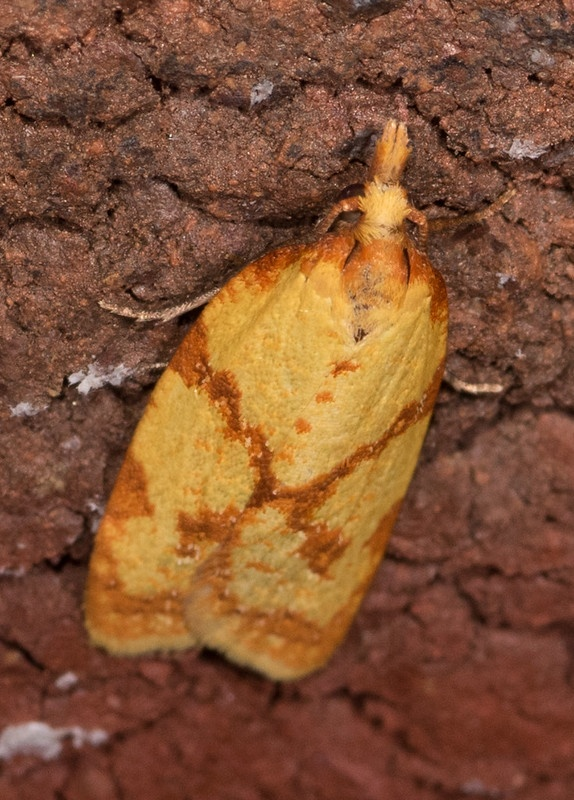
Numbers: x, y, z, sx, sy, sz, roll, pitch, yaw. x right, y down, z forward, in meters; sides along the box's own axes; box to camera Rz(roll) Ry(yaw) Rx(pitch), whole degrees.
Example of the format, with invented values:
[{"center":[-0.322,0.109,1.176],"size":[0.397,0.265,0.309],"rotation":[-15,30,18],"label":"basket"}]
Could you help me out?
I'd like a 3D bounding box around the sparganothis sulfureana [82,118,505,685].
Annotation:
[{"center":[-0.028,0.086,2.228],"size":[0.651,1.116,0.907],"rotation":[17,52,9],"label":"sparganothis sulfureana"}]
